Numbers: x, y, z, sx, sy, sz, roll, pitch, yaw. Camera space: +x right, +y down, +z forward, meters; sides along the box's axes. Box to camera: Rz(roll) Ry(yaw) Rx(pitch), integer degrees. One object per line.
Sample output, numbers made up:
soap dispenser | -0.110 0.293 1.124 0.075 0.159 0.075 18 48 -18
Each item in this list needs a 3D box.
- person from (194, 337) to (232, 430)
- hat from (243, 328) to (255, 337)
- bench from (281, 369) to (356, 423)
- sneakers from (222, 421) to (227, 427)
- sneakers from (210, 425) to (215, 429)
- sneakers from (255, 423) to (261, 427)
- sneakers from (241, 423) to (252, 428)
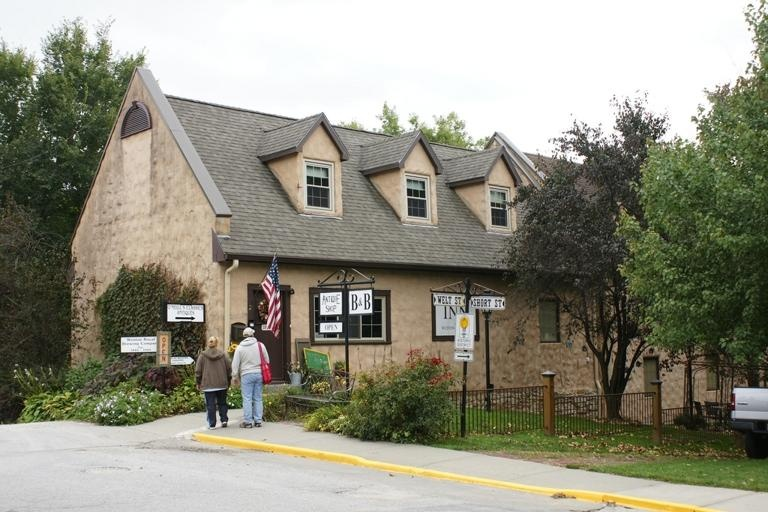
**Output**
person | -4.403 3.361 20.661 0.880 2.112 0.449 3 -11 -12
hat | -3.518 2.050 20.979 0.247 0.126 0.357 0 10 0
bench | -1.880 3.839 22.054 0.731 1.231 2.081 -1 -2 -44
sneakers | -4.086 4.302 20.635 0.085 0.113 0.245 1 -15 -10
sneakers | -4.354 4.332 20.381 0.167 0.095 0.159 3 -12 -11
sneakers | -3.261 4.379 20.867 0.125 0.132 0.078 9 -13 -30
sneakers | -3.554 4.359 20.776 0.122 0.158 0.317 3 0 -42
